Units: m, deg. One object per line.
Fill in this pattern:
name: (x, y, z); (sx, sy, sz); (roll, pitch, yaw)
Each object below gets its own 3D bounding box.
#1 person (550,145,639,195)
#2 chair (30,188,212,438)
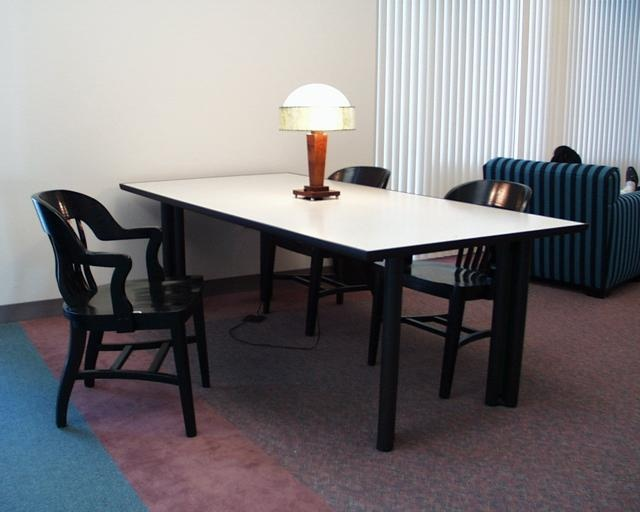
person: (2.738, -0.833, 5.205); (0.576, 0.776, 1.919); (2, 13, 28)
chair: (-0.850, 0.216, 2.338); (0.682, 0.946, 0.624); (-1, 12, -16)
